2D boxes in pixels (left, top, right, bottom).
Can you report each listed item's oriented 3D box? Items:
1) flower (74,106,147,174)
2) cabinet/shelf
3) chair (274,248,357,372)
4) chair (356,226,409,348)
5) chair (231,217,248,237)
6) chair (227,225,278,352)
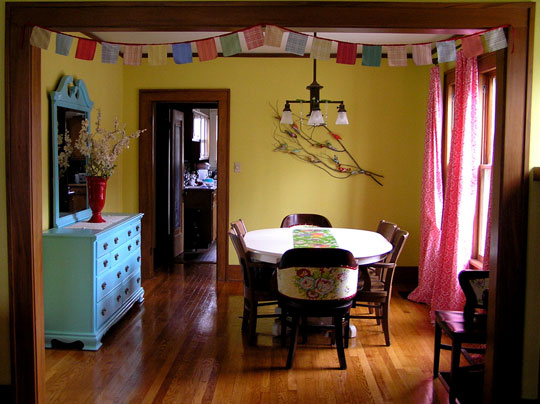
[{"bbox_3d":[-1.680,-0.543,4.580,0.693,0.730,0.622,7,7,37],"label":"flower"},{"bbox_3d":[-1.547,0.691,3.922,0.364,0.740,1.060,-1,3,1],"label":"cabinet/shelf"},{"bbox_3d":[0.359,0.769,3.629,0.591,0.913,0.592,0,10,4],"label":"chair"},{"bbox_3d":[0.978,0.694,4.121,0.426,0.958,0.844,2,9,11],"label":"chair"},{"bbox_3d":[-0.310,0.242,4.313,0.158,0.207,0.153,-2,5,26],"label":"chair"},{"bbox_3d":[-0.151,0.713,3.979,0.415,0.948,0.558,0,9,-2],"label":"chair"}]
